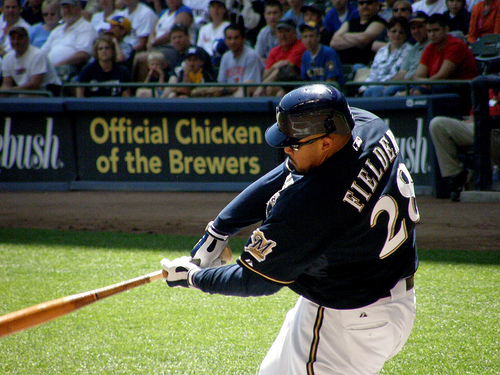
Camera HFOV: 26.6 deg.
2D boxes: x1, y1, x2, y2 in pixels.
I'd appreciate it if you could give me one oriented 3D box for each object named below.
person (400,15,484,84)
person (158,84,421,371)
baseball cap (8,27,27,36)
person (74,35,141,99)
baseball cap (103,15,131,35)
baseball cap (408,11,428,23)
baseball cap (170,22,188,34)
[{"bbox_3d":[2.322,-1.608,12.592,0.950,0.812,0.767,-5,5,-27],"label":"person"},{"bbox_3d":[0.426,0.423,9.795,1.378,2.500,1.212,18,46,16],"label":"person"},{"bbox_3d":[-3.134,-2.090,14.262,0.213,0.133,0.265,1,2,30],"label":"baseball cap"},{"bbox_3d":[-1.890,-1.444,13.798,0.759,1.005,0.596,1,-3,-15],"label":"person"},{"bbox_3d":[-1.780,-2.176,14.245,0.283,0.162,0.181,18,9,-23],"label":"baseball cap"},{"bbox_3d":[2.020,-2.028,12.698,0.223,0.150,0.191,0,1,12],"label":"baseball cap"},{"bbox_3d":[-0.906,-2.054,13.765,0.180,0.187,0.189,8,12,26],"label":"baseball cap"}]
